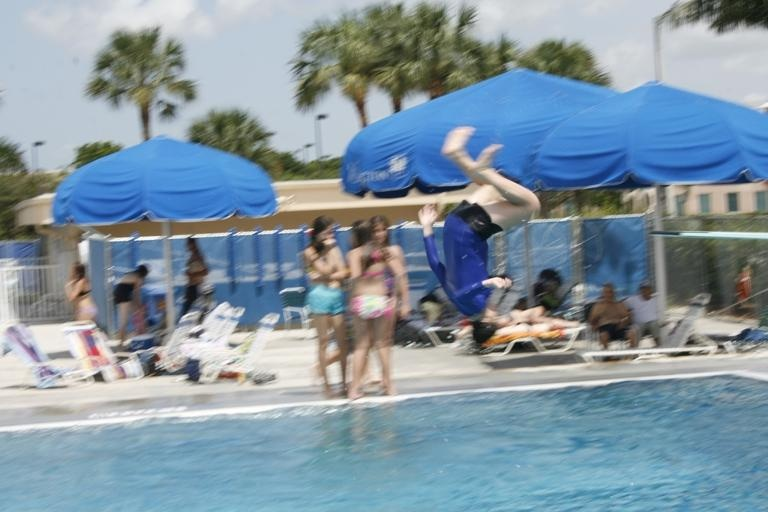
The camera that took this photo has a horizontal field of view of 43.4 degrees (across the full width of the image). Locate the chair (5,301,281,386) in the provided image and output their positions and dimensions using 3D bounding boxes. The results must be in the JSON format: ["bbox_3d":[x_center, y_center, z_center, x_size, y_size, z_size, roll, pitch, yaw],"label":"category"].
[{"bbox_3d":[-3.547,1.355,14.555,3.788,1.251,1.049,-3,1,0],"label":"chair"}]

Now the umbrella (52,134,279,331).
[{"bbox_3d":[-3.425,-0.799,16.157,3.305,2.404,3.420,11,23,43],"label":"umbrella"}]

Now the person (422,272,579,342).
[{"bbox_3d":[2.063,0.928,15.703,2.048,0.723,0.982,-2,0,4],"label":"person"}]
